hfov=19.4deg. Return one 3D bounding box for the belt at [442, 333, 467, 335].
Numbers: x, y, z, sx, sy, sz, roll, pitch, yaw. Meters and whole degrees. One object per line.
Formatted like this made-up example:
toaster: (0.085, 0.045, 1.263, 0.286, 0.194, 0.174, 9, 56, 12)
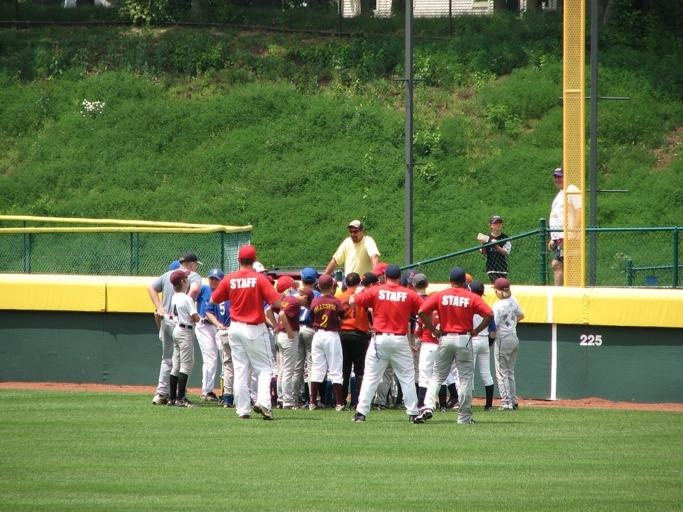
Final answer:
belt: (3.122, 2.300, 55.391, 0.721, 0.092, 0.074, -1, 3, 4)
